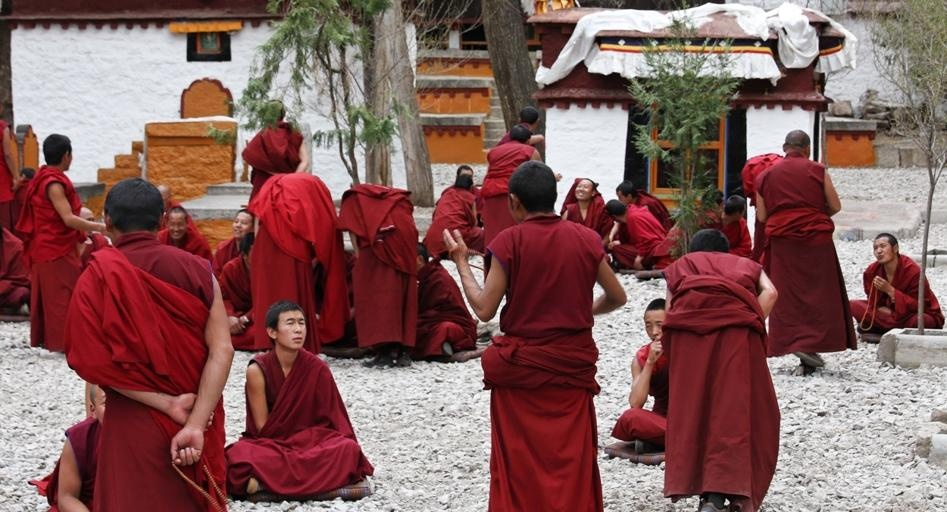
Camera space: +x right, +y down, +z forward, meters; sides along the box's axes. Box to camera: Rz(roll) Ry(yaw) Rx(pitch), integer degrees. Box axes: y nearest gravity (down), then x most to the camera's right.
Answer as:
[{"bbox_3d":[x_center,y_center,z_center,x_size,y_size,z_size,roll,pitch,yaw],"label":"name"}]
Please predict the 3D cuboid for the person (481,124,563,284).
[{"bbox_3d":[0.664,-0.785,17.352,1.202,1.871,0.927,1,8,-24],"label":"person"}]

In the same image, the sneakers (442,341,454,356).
[{"bbox_3d":[-0.313,1.183,15.757,0.121,0.157,0.134,-5,13,-12],"label":"sneakers"}]

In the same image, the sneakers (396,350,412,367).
[{"bbox_3d":[-0.851,1.300,15.602,0.189,0.161,0.181,0,6,3],"label":"sneakers"}]

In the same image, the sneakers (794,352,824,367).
[{"bbox_3d":[4.105,1.280,15.116,0.454,0.177,0.160,15,-22,-25],"label":"sneakers"}]

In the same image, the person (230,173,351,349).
[{"bbox_3d":[-2.153,0.092,15.356,1.262,2.012,0.640,1,1,-22],"label":"person"}]

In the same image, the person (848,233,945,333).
[{"bbox_3d":[5.190,0.423,15.730,0.808,1.348,0.417,2,6,19],"label":"person"}]

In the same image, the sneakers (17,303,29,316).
[{"bbox_3d":[-6.050,0.742,16.874,0.162,0.130,0.124,-3,4,-8],"label":"sneakers"}]

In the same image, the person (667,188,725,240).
[{"bbox_3d":[3.226,-0.539,17.790,0.777,0.363,0.708,-11,19,-6],"label":"person"}]

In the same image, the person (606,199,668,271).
[{"bbox_3d":[2.279,-0.277,18.256,1.049,1.168,0.921,0,7,19],"label":"person"}]

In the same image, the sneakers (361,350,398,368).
[{"bbox_3d":[-1.162,1.305,15.636,0.431,0.180,0.184,1,0,0],"label":"sneakers"}]
